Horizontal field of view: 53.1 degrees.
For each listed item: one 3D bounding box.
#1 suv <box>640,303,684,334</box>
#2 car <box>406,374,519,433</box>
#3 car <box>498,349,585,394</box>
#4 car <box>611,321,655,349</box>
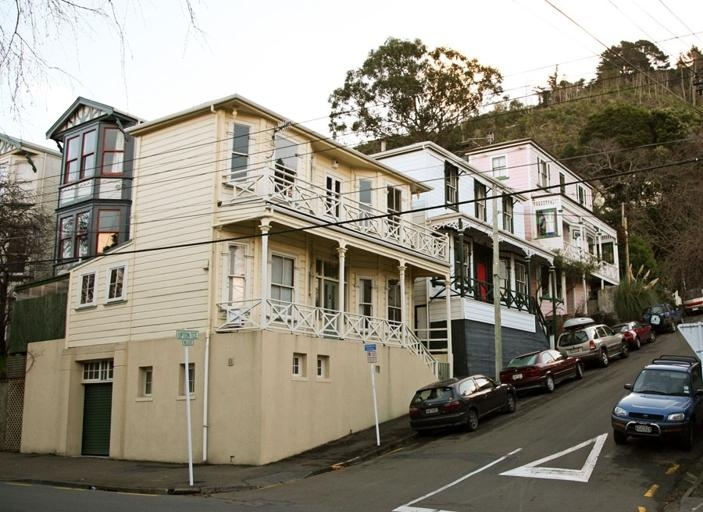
[{"bbox_3d":[18.937,3.729,42.830,1.437,1.796,3.723,-16,-18,39],"label":"suv"},{"bbox_3d":[4.467,5.441,26.076,4.838,1.963,1.566,6,-17,-36],"label":"car"},{"bbox_3d":[8.695,5.124,31.131,5.006,1.801,1.658,8,-18,-40],"label":"car"},{"bbox_3d":[15.476,4.314,38.200,1.358,0.911,2.783,-5,-1,43],"label":"car"}]
